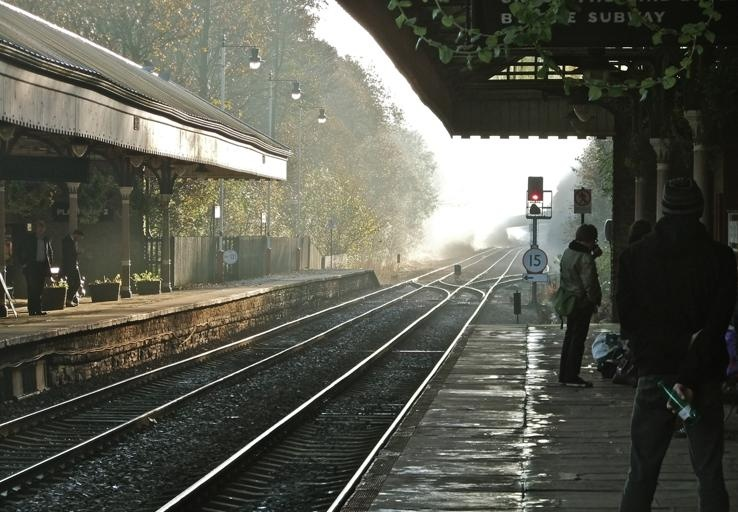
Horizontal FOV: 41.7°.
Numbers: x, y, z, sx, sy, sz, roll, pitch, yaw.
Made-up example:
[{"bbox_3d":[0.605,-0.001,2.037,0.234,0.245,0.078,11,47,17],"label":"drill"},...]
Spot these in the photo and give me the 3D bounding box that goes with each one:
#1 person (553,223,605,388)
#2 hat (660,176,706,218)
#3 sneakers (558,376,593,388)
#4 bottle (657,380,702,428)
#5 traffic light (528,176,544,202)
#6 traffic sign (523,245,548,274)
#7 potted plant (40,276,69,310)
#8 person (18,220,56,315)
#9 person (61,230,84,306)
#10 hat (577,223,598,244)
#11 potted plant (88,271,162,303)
[{"bbox_3d":[3.038,0.709,14.086,0.633,2.374,0.771,0,1,10],"label":"person"},{"bbox_3d":[2.790,-0.536,8.645,0.342,0.374,0.327,-2,5,-3],"label":"hat"},{"bbox_3d":[3.042,1.840,14.287,0.467,0.202,0.186,-3,-2,27],"label":"sneakers"},{"bbox_3d":[2.672,1.226,8.381,0.156,0.403,0.226,-39,-20,6],"label":"bottle"},{"bbox_3d":[4.590,-1.846,26.712,0.448,0.677,0.240,0,1,-2],"label":"traffic light"},{"bbox_3d":[4.120,0.082,23.997,0.507,0.643,1.306,0,1,12],"label":"traffic sign"},{"bbox_3d":[-6.564,0.741,20.130,0.643,0.833,0.553,2,-10,-16],"label":"potted plant"},{"bbox_3d":[-6.786,0.198,19.663,0.564,1.852,1.211,-1,1,-21],"label":"person"},{"bbox_3d":[-6.808,0.216,22.056,0.419,1.675,2.483,-1,1,-17],"label":"person"},{"bbox_3d":[3.137,-0.330,13.957,0.288,0.281,0.377,0,1,10],"label":"hat"},{"bbox_3d":[-6.230,0.612,23.571,1.342,0.477,0.929,-1,-4,-5],"label":"potted plant"}]
